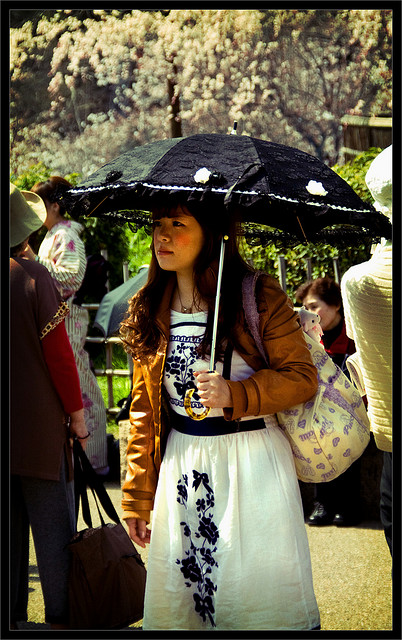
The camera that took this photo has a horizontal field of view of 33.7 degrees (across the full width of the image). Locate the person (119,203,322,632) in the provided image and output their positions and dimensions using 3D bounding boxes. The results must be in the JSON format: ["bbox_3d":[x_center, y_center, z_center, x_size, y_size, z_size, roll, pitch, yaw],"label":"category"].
[{"bbox_3d":[0.026,0.290,2.055,0.673,1.295,0.390,0,4,40],"label":"person"}]

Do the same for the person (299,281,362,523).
[{"bbox_3d":[0.702,0.335,4.131,0.409,0.385,1.407,-5,44,11],"label":"person"}]

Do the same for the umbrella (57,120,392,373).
[{"bbox_3d":[0.112,-0.310,2.252,0.897,0.605,0.920,6,-7,17],"label":"umbrella"}]

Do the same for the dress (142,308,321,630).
[{"bbox_3d":[0.085,0.450,1.991,0.509,0.967,0.308,-1,4,33],"label":"dress"}]

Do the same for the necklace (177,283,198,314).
[{"bbox_3d":[-0.040,-0.072,2.144,0.076,0.079,0.024,10,28,30],"label":"necklace"}]
